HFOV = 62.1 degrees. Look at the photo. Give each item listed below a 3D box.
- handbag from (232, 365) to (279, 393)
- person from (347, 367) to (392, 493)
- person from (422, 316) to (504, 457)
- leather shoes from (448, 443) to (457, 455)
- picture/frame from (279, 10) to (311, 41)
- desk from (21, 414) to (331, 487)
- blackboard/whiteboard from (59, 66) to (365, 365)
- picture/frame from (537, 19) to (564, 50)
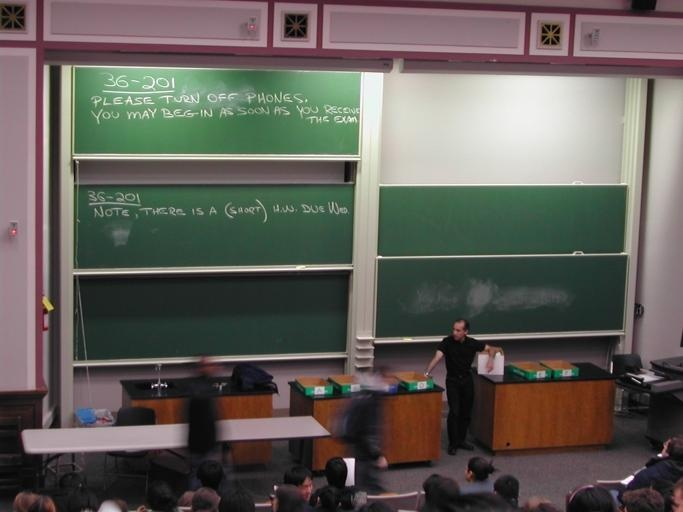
[{"bbox_3d":[-0.966,1.328,6.187,0.370,0.133,0.368,1,3,-9],"label":"handbag"},{"bbox_3d":[0.295,1.401,4.447,0.433,1.204,0.403,1,23,7],"label":"person"},{"bbox_3d":[1.440,1.493,6.716,0.619,1.531,0.355,-5,7,-22],"label":"person"},{"bbox_3d":[1.284,2.234,6.595,0.055,0.058,0.138,1,7,2],"label":"leather shoes"},{"bbox_3d":[-0.464,-2.243,5.517,0.302,0.296,0.021,0,6,-11],"label":"picture/frame"},{"bbox_3d":[-1.549,1.663,5.147,2.637,0.412,0.757,-4,7,-12],"label":"desk"},{"bbox_3d":[-1.732,-0.603,6.986,3.723,3.682,0.385,0,2,-12],"label":"blackboard/whiteboard"},{"bbox_3d":[2.146,-2.293,5.861,0.310,0.327,0.037,0,1,-8],"label":"picture/frame"}]
